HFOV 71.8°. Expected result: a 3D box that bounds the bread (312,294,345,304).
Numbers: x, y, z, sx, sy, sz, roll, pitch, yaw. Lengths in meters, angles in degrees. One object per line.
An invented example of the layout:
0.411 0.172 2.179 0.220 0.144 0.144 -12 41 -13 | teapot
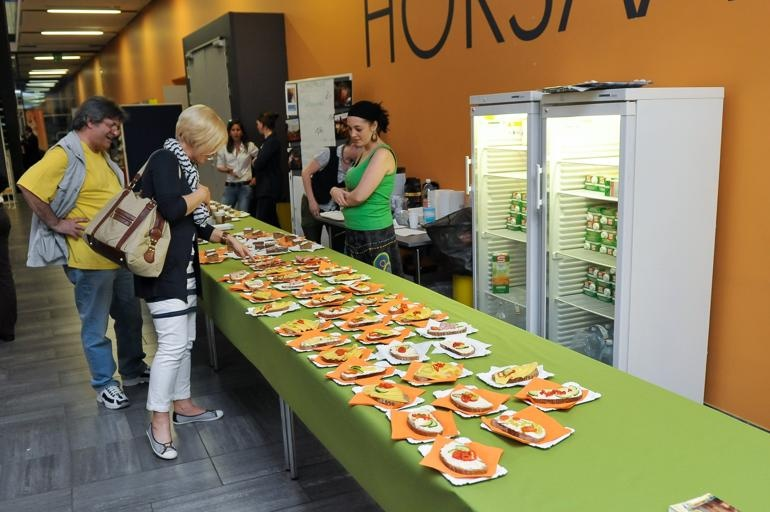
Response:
-0.318 0.251 3.036 0.120 0.022 0.074 -6 10 -36 | bread

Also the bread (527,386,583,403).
0.669 0.548 2.085 0.135 0.030 0.086 -4 6 -11 | bread

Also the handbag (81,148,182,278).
-1.393 -0.263 2.997 0.458 0.647 0.238 21 -3 22 | handbag

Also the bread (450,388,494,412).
0.338 0.572 2.097 0.121 0.040 0.159 -10 17 -36 | bread

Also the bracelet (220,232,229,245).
-1.074 -0.118 3.550 0.042 0.061 0.066 21 21 -7 | bracelet

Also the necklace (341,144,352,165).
-0.357 -0.971 5.050 0.125 0.184 0.178 -4 4 4 | necklace

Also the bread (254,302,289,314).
-0.632 0.294 2.960 0.118 0.027 0.083 -6 11 -17 | bread

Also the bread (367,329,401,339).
-0.005 0.385 2.606 0.109 0.028 0.067 -6 12 -25 | bread

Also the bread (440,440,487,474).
0.263 0.699 1.821 0.131 0.043 0.155 -6 15 -23 | bread

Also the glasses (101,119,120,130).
-1.808 -0.875 3.524 0.073 0.042 0.060 14 21 36 | glasses

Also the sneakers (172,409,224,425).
-1.293 1.115 3.705 0.330 0.110 0.126 -4 5 -17 | sneakers

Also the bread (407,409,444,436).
0.150 0.629 1.979 0.135 0.044 0.093 2 14 9 | bread

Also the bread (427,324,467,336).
0.301 0.364 2.617 0.120 0.023 0.078 -4 11 -14 | bread

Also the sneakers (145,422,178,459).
-1.401 1.187 3.380 0.124 0.097 0.308 4 16 -36 | sneakers

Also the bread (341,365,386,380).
-0.098 0.505 2.311 0.122 0.023 0.074 -7 12 -28 | bread

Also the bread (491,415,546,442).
0.489 0.614 1.933 0.075 0.029 0.134 -12 14 -35 | bread

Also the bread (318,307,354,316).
-0.262 0.305 2.875 0.071 0.021 0.116 3 8 37 | bread

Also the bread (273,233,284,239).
-0.904 -0.171 4.481 0.063 0.051 0.063 1 1 -40 | bread

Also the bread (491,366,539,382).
0.541 0.499 2.233 0.118 0.032 0.087 -15 8 -3 | bread

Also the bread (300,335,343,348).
-0.297 0.415 2.554 0.124 0.026 0.071 -6 8 -44 | bread

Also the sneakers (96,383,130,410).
-2.025 1.039 3.933 0.118 0.140 0.300 -2 3 -39 | sneakers
